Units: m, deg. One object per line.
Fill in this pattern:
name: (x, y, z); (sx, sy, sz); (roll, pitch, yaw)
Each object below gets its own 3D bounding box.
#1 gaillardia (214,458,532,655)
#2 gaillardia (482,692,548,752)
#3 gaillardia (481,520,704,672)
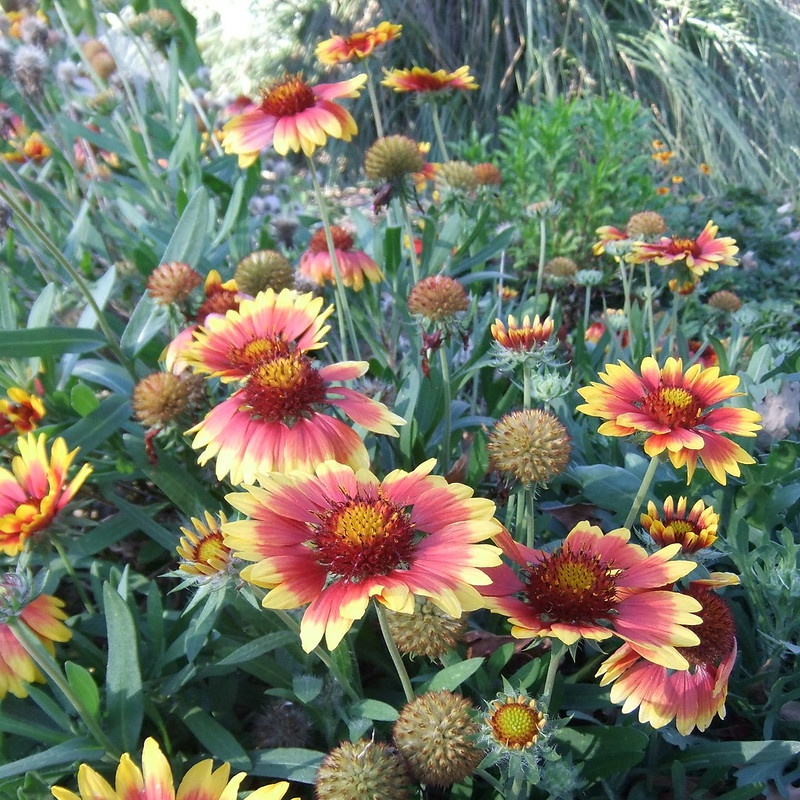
gaillardia: (-0.049, 0.234, 1.281); (0.329, 0.137, 0.370); (13, 35, 12)
gaillardia: (0.178, 0.493, 1.262); (0.091, 0.057, 0.083); (2, 43, 4)
gaillardia: (0.278, 0.330, 1.379); (0.396, 0.156, 0.423); (4, 1, -12)
